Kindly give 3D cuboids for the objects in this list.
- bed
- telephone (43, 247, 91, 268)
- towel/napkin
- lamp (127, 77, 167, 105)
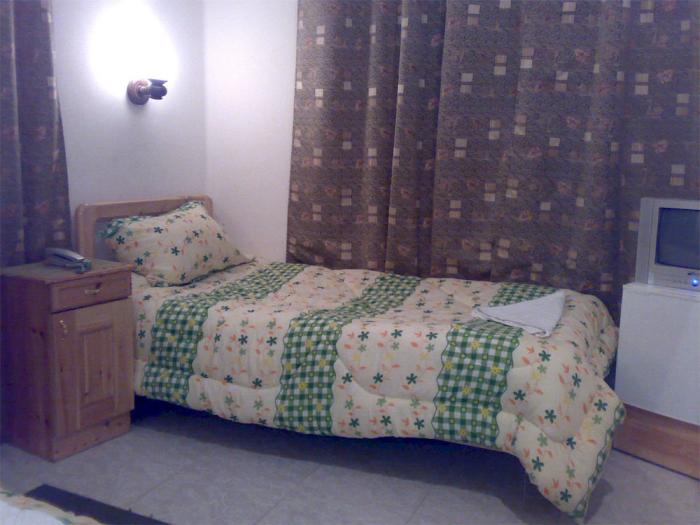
[{"bbox_3d":[0.035,0.369,2.944,2.537,1.071,1.071,7,14,25],"label":"bed"},{"bbox_3d":[-1.455,-0.029,2.909,0.217,0.080,0.071,8,27,20],"label":"telephone"},{"bbox_3d":[0.825,0.226,2.805,0.396,0.079,0.516,7,13,26],"label":"towel/napkin"},{"bbox_3d":[-1.282,-1.097,3.672,0.188,0.163,0.215,7,13,25],"label":"lamp"}]
